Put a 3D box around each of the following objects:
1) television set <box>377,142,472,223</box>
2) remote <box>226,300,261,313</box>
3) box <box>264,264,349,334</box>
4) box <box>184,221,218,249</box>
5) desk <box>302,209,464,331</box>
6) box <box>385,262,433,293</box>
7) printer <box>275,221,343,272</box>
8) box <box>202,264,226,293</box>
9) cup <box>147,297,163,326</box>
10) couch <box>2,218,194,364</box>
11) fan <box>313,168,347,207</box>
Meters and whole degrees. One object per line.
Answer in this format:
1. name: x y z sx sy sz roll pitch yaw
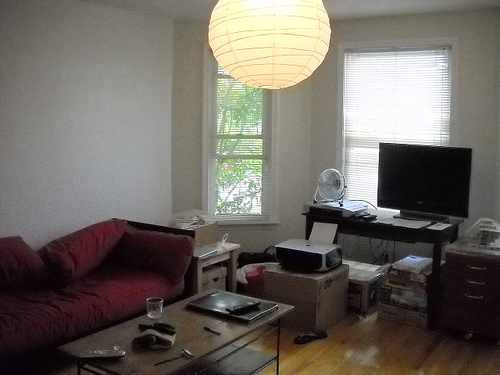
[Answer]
1. television set: 1.781 -0.063 4.189 0.909 0.769 0.209 8 15 40
2. remote: -0.024 0.797 2.734 0.254 0.028 0.096 -3 7 -34
3. box: 0.510 0.936 3.684 0.587 0.423 0.577 3 3 36
4. box: -0.503 0.469 4.013 0.361 0.231 0.199 21 -19 -36
5. desk: 1.444 0.571 4.308 1.879 1.200 0.937 4 4 35
6. box: 1.575 0.906 3.921 0.589 0.180 0.428 15 -8 -38
7. printer: 0.629 0.572 3.814 0.484 0.340 0.493 1 4 34
8. box: -0.331 0.856 3.822 0.213 0.132 0.217 0 0 26
9. cup: -0.622 0.810 2.707 0.121 0.133 0.129 0 0 0
10. couch: -1.284 0.697 3.250 0.729 0.689 1.417 7 8 44
11. fan: 0.884 0.005 4.269 0.365 0.355 0.203 6 10 42
